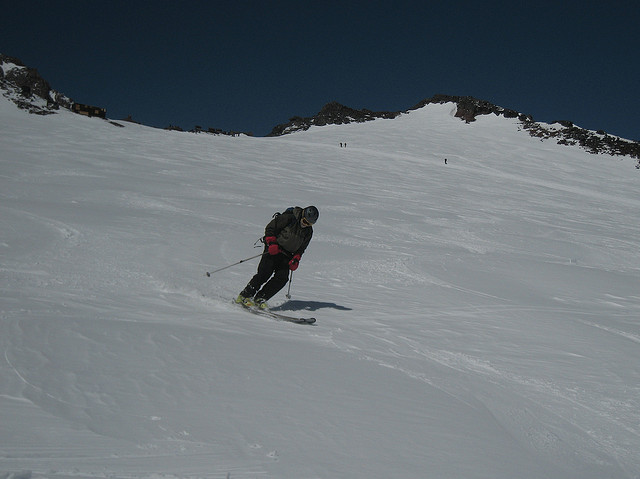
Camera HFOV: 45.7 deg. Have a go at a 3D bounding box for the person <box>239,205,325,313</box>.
[{"bbox_3d":[-0.963,0.379,17.459,1.011,2.417,0.746,22,5,-5],"label":"person"}]
